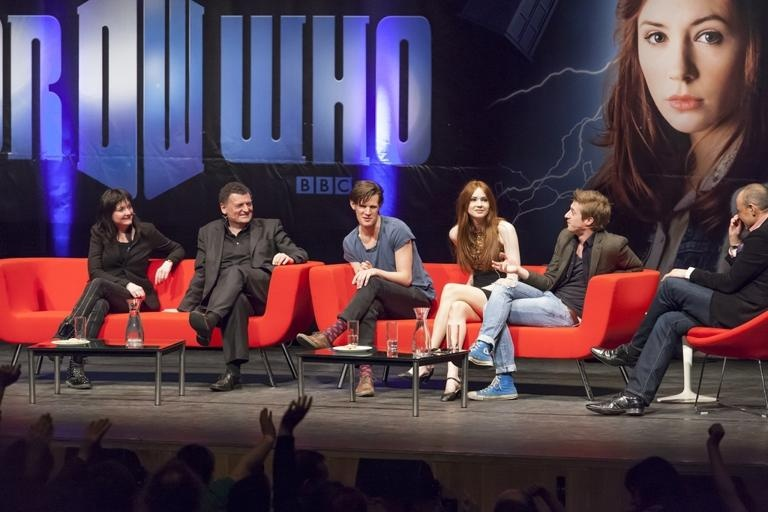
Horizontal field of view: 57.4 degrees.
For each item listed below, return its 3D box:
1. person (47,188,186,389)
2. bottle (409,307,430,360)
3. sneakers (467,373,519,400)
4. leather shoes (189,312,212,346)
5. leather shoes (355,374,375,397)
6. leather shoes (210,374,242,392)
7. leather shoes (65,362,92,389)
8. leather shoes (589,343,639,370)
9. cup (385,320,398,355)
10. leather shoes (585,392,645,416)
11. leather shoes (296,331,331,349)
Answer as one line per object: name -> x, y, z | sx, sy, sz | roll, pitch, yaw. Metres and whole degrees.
person -> -2.163, 0.074, 5.723 | 1.053, 1.608, 1.349 | 0, 1, -4
bottle -> 0.240, 0.472, 4.433 | 0.112, 0.278, 0.314 | 3, 6, 3
sneakers -> 0.795, 0.921, 4.988 | 0.419, 0.210, 0.145 | 1, -4, -2
leather shoes -> -1.298, 0.506, 5.034 | 0.116, 0.278, 0.118 | 0, 23, 17
leather shoes -> -0.131, 0.933, 5.019 | 0.142, 0.169, 0.392 | -1, -9, 5
leather shoes -> -1.144, 0.922, 5.087 | 0.085, 0.109, 0.246 | -5, -11, 36
leather shoes -> -2.250, 0.892, 5.115 | 0.293, 0.204, 0.110 | -1, -4, 29
leather shoes -> 1.550, 0.665, 4.709 | 0.329, 0.135, 0.123 | 7, 5, 10
cup -> 0.047, 0.534, 4.521 | 0.083, 0.225, 0.081 | 1, -5, 0
leather shoes -> 1.491, 0.942, 4.481 | 0.382, 0.165, 0.148 | 1, -6, 9
leather shoes -> -0.467, 0.580, 4.809 | 0.258, 0.111, 0.092 | 13, -11, -34
